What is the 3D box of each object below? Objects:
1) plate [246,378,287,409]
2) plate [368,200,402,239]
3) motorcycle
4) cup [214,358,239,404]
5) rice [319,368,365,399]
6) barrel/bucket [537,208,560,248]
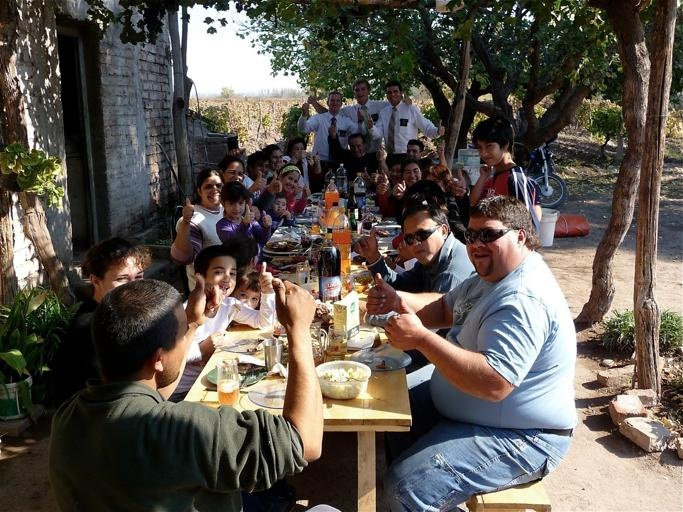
[{"bbox_3d":[-0.377,0.694,2.635,0.189,0.033,0.302,-3,11,-3],"label":"plate"},{"bbox_3d":[0.616,-0.524,6.676,0.396,0.226,0.704,7,27,12],"label":"plate"},{"bbox_3d":[1.924,-1.011,5.311,0.564,0.693,0.992,-13,39,-24],"label":"motorcycle"},{"bbox_3d":[-0.571,0.644,2.638,0.142,0.215,0.146,-1,3,0],"label":"cup"},{"bbox_3d":[0.013,0.639,2.632,0.157,0.062,0.145,4,13,2],"label":"rice"},{"bbox_3d":[3.534,-0.457,9.048,0.409,0.555,0.404,0,11,0],"label":"barrel/bucket"}]
